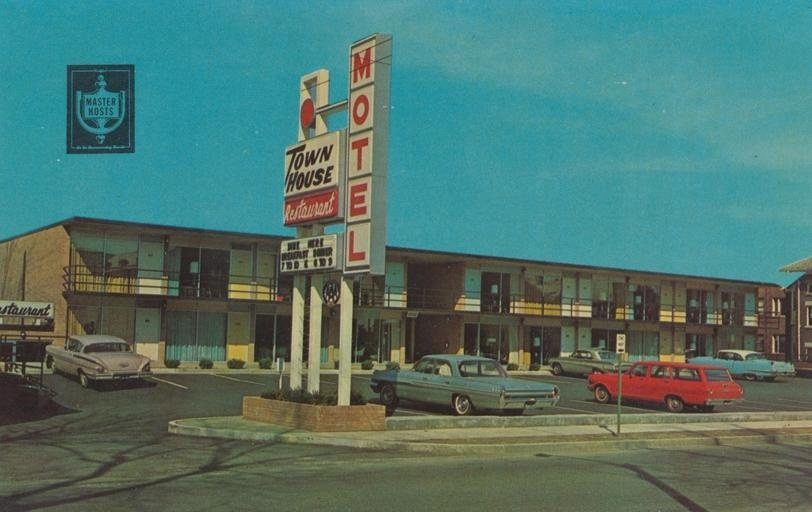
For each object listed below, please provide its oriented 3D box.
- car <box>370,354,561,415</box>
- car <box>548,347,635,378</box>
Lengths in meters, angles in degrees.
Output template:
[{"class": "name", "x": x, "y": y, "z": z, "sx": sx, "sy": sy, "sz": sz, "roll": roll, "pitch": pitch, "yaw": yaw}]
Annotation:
[{"class": "car", "x": 2.263, "y": 5.404, "z": 45.692, "sx": 3.975, "sy": 2.403, "sz": 8.106, "roll": 6, "pitch": -5, "yaw": -41}, {"class": "car", "x": 10.302, "y": 6.063, "z": 61.387, "sx": 1.989, "sy": 1.280, "sz": 4.159, "roll": 4, "pitch": -4, "yaw": -39}]
